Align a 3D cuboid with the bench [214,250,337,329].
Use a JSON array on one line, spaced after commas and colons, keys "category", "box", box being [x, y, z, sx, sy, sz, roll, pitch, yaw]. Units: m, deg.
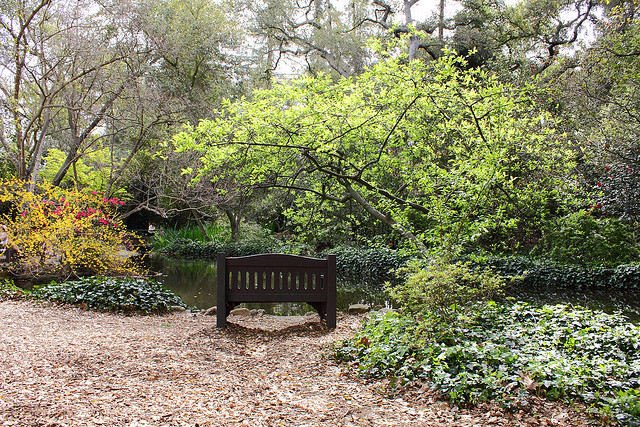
[{"category": "bench", "box": [-0.973, 1.743, 12.667, 2.570, 1.489, 0.994, 1, -7, -6]}]
